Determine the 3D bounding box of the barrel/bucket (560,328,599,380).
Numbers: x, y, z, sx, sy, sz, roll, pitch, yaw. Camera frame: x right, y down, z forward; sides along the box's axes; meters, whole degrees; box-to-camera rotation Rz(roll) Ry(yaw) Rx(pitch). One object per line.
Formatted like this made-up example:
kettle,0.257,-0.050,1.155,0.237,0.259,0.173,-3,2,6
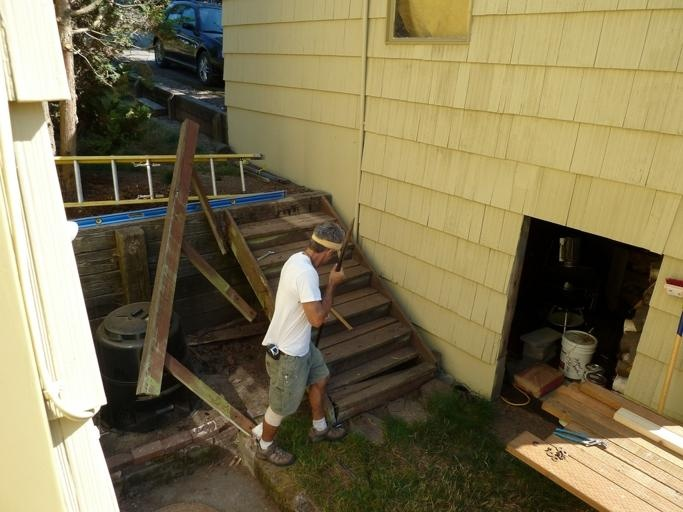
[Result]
barrel/bucket,2.818,1.174,5.473,0.369,0.420,0.382,-1,14,0

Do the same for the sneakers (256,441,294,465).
sneakers,-0.610,1.820,4.296,0.340,0.148,0.156,7,32,4

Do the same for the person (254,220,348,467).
person,-0.379,0.819,4.109,0.917,2.139,0.500,-9,25,-19

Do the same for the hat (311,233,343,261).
hat,-0.106,-0.088,4.046,0.287,0.201,0.231,15,16,-24

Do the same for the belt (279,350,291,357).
belt,-0.496,0.829,3.986,0.060,0.022,0.045,29,11,27

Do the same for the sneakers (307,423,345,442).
sneakers,-0.137,1.720,4.507,0.356,0.166,0.161,-3,36,-22

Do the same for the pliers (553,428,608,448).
pliers,1.878,1.436,3.652,0.400,0.124,0.106,16,65,24
